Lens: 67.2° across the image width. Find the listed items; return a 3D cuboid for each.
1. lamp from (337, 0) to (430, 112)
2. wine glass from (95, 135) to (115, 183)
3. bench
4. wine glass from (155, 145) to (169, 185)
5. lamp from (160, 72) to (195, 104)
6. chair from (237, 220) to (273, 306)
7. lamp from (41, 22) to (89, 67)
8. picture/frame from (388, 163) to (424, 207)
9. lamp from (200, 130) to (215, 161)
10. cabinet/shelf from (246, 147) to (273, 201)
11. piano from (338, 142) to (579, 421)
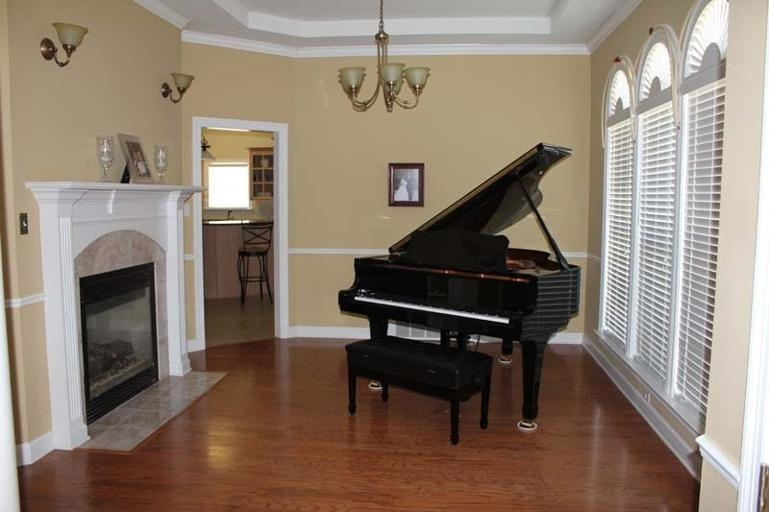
[{"bbox_3d":[0.029,-2.055,5.948,0.868,1.125,2.105,1,14,4],"label":"lamp"},{"bbox_3d":[-2.461,-0.857,5.057,0.140,0.390,0.337,-7,16,-25],"label":"wine glass"},{"bbox_3d":[0.280,1.144,5.100,1.297,0.658,0.637,3,3,40],"label":"bench"},{"bbox_3d":[-2.216,-0.910,5.687,0.127,0.360,0.267,-5,16,-21],"label":"wine glass"},{"bbox_3d":[-2.178,-1.782,6.145,0.383,0.357,0.233,8,6,15],"label":"lamp"},{"bbox_3d":[-2.070,0.085,9.154,0.579,1.176,0.789,-4,15,-14],"label":"chair"},{"bbox_3d":[-2.573,-1.697,4.719,0.393,0.361,0.257,0,2,16],"label":"lamp"},{"bbox_3d":[0.270,-0.886,6.993,0.546,0.596,0.045,0,1,2],"label":"picture/frame"},{"bbox_3d":[-3.597,-2.172,11.608,0.184,0.576,0.969,-4,15,-16],"label":"lamp"},{"bbox_3d":[-2.640,-1.702,12.072,0.709,1.058,0.313,-8,14,-42],"label":"cabinet/shelf"},{"bbox_3d":[0.724,0.157,5.767,2.183,2.357,2.706,1,7,3],"label":"piano"}]
